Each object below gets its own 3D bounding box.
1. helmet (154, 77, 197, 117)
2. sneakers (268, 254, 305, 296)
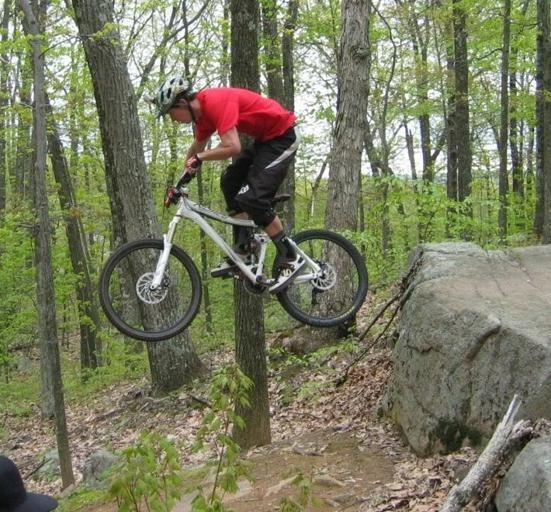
[{"bbox_3d":[-1.188,-1.917,7.118,0.334,0.478,0.248,17,13,-38],"label":"helmet"},{"bbox_3d":[0.161,0.234,7.598,0.229,0.637,0.251,37,-2,19],"label":"sneakers"}]
